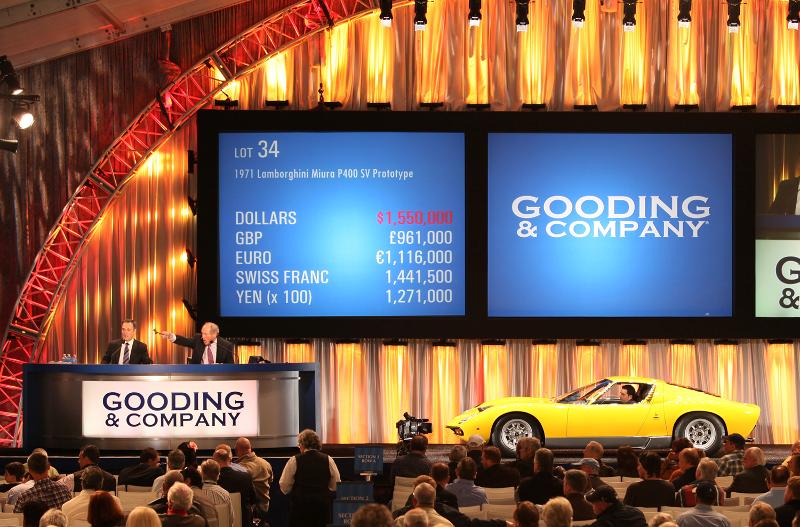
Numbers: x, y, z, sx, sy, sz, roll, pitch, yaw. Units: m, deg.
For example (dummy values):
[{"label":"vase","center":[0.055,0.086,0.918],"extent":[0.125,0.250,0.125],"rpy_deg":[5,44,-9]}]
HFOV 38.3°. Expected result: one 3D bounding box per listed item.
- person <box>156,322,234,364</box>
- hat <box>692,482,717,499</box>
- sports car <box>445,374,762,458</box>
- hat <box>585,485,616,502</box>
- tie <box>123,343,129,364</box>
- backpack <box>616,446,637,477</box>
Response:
[{"label":"person","center":[-3.798,1.528,21.436],"extent":[0.996,0.951,0.346],"rpy_deg":[-1,-4,6]},{"label":"hat","center":[4.050,3.051,15.391],"extent":[0.272,0.230,0.392],"rpy_deg":[-4,-9,13]},{"label":"sports car","center":[3.964,2.993,21.762],"extent":[4.804,1.162,2.168],"rpy_deg":[0,-11,3]},{"label":"hat","center":[2.650,3.059,15.232],"extent":[0.313,0.182,0.203],"rpy_deg":[2,-4,9]},{"label":"tie","center":[-4.787,1.580,20.183],"extent":[0.128,0.344,0.044],"rpy_deg":[-5,-10,21]},{"label":"backpack","center":[3.506,3.035,17.439],"extent":[0.328,0.478,0.491],"rpy_deg":[0,-8,0]}]
